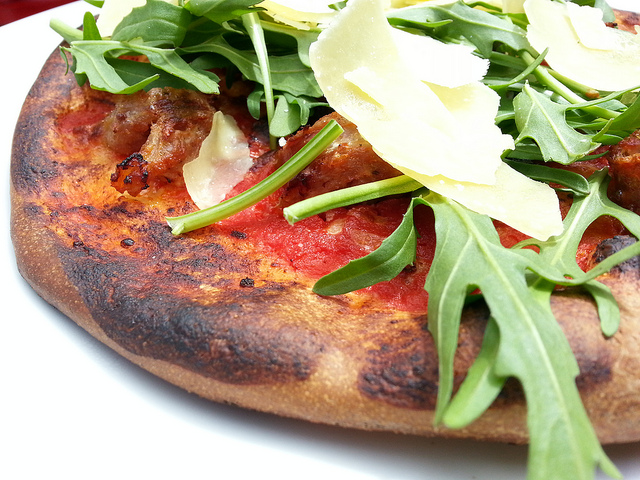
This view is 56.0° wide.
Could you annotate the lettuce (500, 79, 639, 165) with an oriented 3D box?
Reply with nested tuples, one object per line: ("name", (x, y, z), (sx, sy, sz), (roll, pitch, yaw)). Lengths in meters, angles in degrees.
("lettuce", (0.676, -0.308, 1.649), (0.335, 0.071, 0.295), (-30, 49, -28))

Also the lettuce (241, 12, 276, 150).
("lettuce", (-0.183, -0.498, 1.872), (0.066, 0.085, 0.443), (-6, 70, -30))
